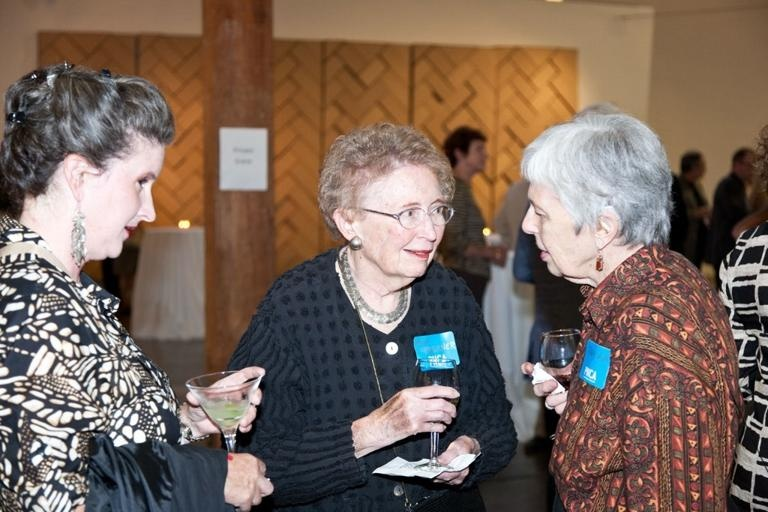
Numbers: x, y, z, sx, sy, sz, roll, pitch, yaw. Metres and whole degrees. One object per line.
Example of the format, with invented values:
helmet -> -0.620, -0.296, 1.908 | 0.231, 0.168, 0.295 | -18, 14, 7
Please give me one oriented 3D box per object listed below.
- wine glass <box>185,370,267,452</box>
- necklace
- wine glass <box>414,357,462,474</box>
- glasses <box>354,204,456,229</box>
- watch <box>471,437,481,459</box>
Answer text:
wine glass -> -0.515, 0.511, 2.685 | 0.276, 0.341, 0.281 | -3, -4, -6
necklace -> -0.071, 0.138, 3.010 | 0.244, 0.316, 0.080 | -20, -5, -18
wine glass -> 0.191, 0.554, 2.798 | 0.145, 0.386, 0.287 | -1, -2, -5
glasses -> 0.076, -0.148, 2.861 | 0.305, 0.096, 0.059 | -1, -2, -8
watch -> 0.348, 0.712, 2.851 | 0.047, 0.054, 0.052 | 3, -12, -10
